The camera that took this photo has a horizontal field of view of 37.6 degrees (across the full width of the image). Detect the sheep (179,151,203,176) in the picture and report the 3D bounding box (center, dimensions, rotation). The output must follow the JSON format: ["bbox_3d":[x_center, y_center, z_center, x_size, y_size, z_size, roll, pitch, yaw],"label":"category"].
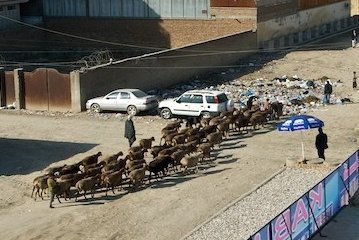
[{"bbox_3d":[0.590,2.072,26.323,1.087,0.977,1.807,-1,8,7],"label":"sheep"}]

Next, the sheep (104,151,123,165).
[{"bbox_3d":[-3.153,1.846,25.775,0.260,0.562,1.057,35,55,28],"label":"sheep"}]

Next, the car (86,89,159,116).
[{"bbox_3d":[-3.885,-1.232,35.800,4.383,1.692,0.913,0,8,17],"label":"car"}]

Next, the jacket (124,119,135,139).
[{"bbox_3d":[-2.811,0.498,29.182,0.748,1.015,0.529,18,26,39],"label":"jacket"}]

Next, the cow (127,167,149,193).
[{"bbox_3d":[-1.964,2.739,24.701,0.758,1.230,0.852,2,-6,-6],"label":"cow"}]

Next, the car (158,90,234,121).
[{"bbox_3d":[1.034,-1.182,34.021,3.720,1.705,2.150,7,17,19],"label":"car"}]

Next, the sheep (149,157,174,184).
[{"bbox_3d":[-0.937,2.327,25.326,0.403,1.072,1.224,5,10,43],"label":"sheep"}]

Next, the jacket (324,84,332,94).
[{"bbox_3d":[10.047,-2.155,35.827,0.606,0.631,0.331,-6,24,-8],"label":"jacket"}]

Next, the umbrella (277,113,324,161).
[{"bbox_3d":[5.778,0.345,25.516,2.120,2.338,2.226,-13,15,6],"label":"umbrella"}]
